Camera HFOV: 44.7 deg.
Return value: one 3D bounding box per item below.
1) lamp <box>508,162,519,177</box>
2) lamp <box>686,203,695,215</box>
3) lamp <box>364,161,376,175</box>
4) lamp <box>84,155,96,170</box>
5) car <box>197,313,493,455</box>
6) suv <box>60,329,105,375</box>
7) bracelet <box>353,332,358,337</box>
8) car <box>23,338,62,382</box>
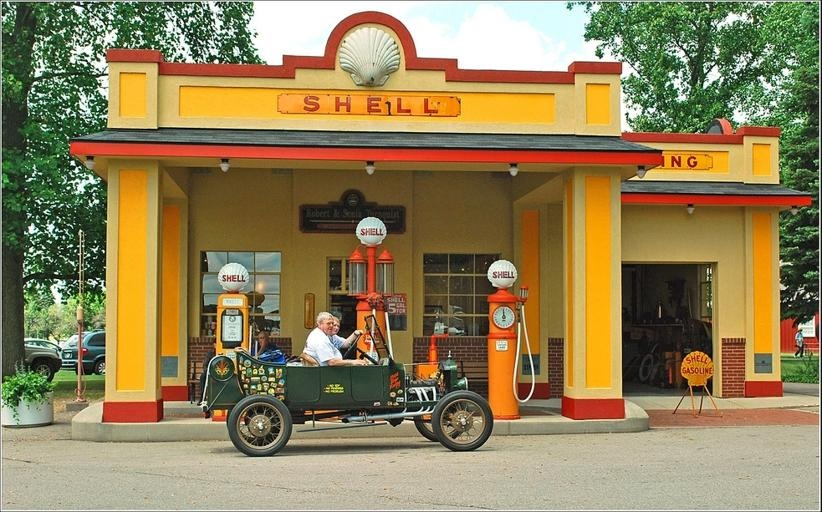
[{"bbox_3d":[2.669,-2.212,26.077,0.307,0.324,0.313,-2,-3,29],"label":"lamp"},{"bbox_3d":[8.294,-1.322,29.349,0.262,0.236,0.262,-1,-7,15],"label":"lamp"},{"bbox_3d":[-1.064,-2.252,25.958,0.284,0.306,0.280,0,-11,5],"label":"lamp"},{"bbox_3d":[-8.221,-2.321,25.345,0.294,0.285,0.291,-1,1,9],"label":"lamp"},{"bbox_3d":[-1.643,3.091,24.755,6.385,2.957,3.313,0,-4,-7],"label":"car"},{"bbox_3d":[-12.888,4.007,41.769,3.311,1.528,1.674,-1,0,-27],"label":"suv"},{"bbox_3d":[-1.270,1.835,23.553,0.116,0.120,0.160,2,-8,-18],"label":"bracelet"},{"bbox_3d":[-14.066,3.923,38.011,1.276,1.590,2.657,2,-9,-21],"label":"car"}]
